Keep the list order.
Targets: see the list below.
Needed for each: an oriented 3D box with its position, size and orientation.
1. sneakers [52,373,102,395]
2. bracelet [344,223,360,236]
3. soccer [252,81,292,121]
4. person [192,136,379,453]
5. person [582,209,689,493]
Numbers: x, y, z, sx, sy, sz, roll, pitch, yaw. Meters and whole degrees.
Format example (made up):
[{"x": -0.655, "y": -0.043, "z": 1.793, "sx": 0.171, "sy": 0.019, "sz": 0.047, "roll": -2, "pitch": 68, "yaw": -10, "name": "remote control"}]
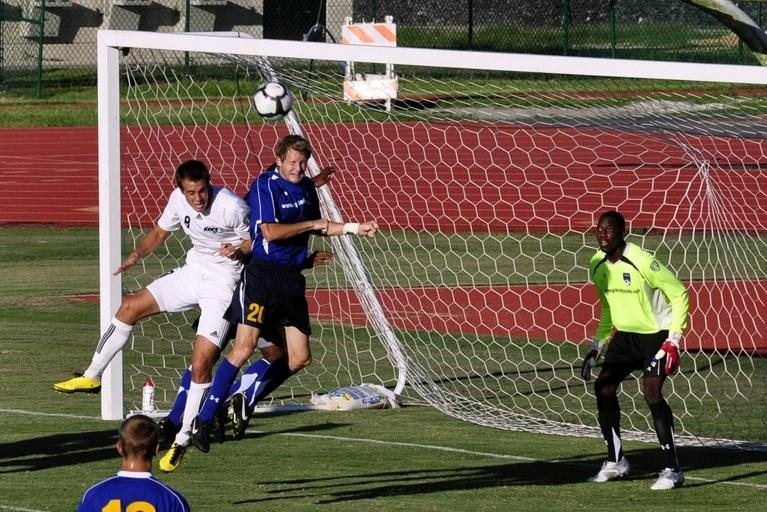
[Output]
[{"x": -3.282, "y": 1.391, "z": 14.430, "sx": 0.543, "sy": 0.203, "sz": 0.198, "roll": 3, "pitch": 1, "yaw": -7, "name": "sneakers"}, {"x": -0.302, "y": -0.310, "z": 13.822, "sx": 0.199, "sy": 0.092, "sz": 0.099, "roll": 7, "pitch": 9, "yaw": 41, "name": "bracelet"}, {"x": -1.285, "y": -1.835, "z": 15.446, "sx": 0.500, "sy": 0.392, "sz": 0.438, "roll": -1, "pitch": 15, "yaw": -6, "name": "soccer"}, {"x": -1.146, "y": 0.404, "z": 14.186, "sx": 1.654, "sy": 3.451, "sz": 0.873, "roll": 1, "pitch": 8, "yaw": -9, "name": "person"}, {"x": 2.683, "y": 0.958, "z": 14.017, "sx": 1.236, "sy": 2.860, "sz": 0.779, "roll": 6, "pitch": 9, "yaw": 28, "name": "person"}]
